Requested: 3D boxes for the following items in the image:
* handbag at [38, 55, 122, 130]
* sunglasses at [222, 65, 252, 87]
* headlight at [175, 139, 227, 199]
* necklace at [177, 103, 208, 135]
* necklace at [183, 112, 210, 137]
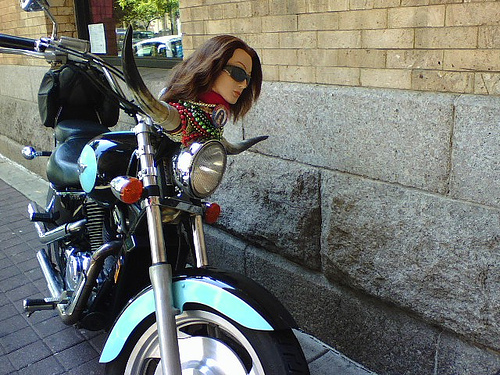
[{"bbox_3d":[-1.252,-0.658,3.364,0.478,0.539,0.536,-4,23,-17],"label":"handbag"},{"bbox_3d":[-0.065,-0.539,2.152,0.141,0.094,0.035,-7,21,-24],"label":"sunglasses"},{"bbox_3d":[-0.217,-0.080,1.977,0.226,0.256,0.122,-1,19,-10],"label":"headlight"},{"bbox_3d":[-0.259,-0.322,2.070,0.099,0.122,0.138,-12,22,-32],"label":"necklace"},{"bbox_3d":[-0.238,-0.268,2.024,0.092,0.038,0.104,44,1,18],"label":"necklace"}]
